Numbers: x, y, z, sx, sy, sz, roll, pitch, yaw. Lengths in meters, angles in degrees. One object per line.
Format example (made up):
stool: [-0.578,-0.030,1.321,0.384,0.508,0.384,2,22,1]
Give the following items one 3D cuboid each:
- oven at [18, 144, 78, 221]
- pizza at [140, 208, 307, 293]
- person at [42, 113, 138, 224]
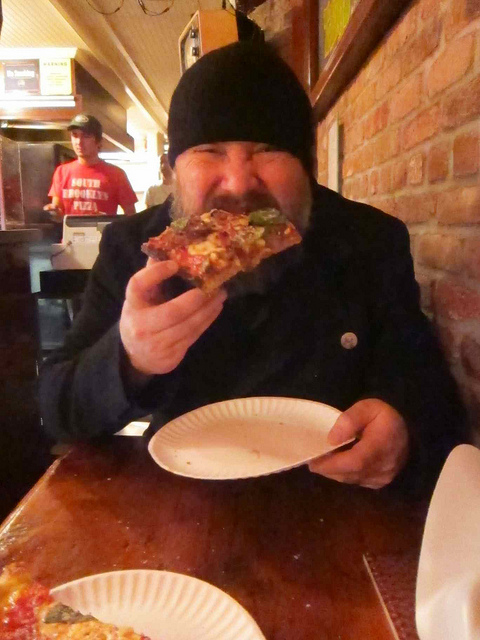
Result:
oven: [-2.233,-1.592,6.197,0.489,0.878,0.912,-1,12,-10]
pizza: [-0.034,-0.199,1.466,0.346,0.102,0.270,-30,54,-29]
person: [-1.459,-1.348,5.264,0.902,1.248,0.650,-2,4,-15]
